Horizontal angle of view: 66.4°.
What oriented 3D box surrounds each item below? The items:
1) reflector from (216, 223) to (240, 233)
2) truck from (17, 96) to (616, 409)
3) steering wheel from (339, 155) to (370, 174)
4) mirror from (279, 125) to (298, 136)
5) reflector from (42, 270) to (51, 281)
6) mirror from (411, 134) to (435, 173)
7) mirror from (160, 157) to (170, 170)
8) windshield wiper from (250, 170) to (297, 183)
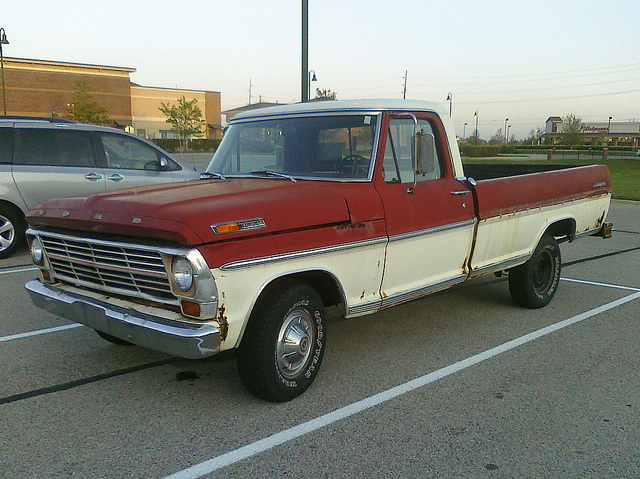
[{"bbox_3d":[-0.679,-0.085,3.629,0.151,0.063,0.022,-12,-5,-39],"label":"reflector"},{"bbox_3d":[0.768,-0.289,5.843,7.393,2.590,2.346,-8,15,-34],"label":"truck"},{"bbox_3d":[0.333,-0.733,4.742,0.202,0.225,0.134,6,-6,42],"label":"steering wheel"},{"bbox_3d":[-0.318,-1.111,4.977,0.245,0.106,0.055,8,15,31],"label":"mirror"},{"bbox_3d":[-2.536,0.337,4.537,0.094,0.094,0.025,11,17,42],"label":"reflector"},{"bbox_3d":[1.005,-0.836,4.785,0.245,0.384,0.232,-8,12,-37],"label":"mirror"},{"bbox_3d":[-2.968,-1.453,9.354,0.132,0.226,0.220,2,4,-13],"label":"mirror"},{"bbox_3d":[-0.441,-0.623,4.838,0.522,0.092,0.045,14,19,30],"label":"windshield wiper"}]
